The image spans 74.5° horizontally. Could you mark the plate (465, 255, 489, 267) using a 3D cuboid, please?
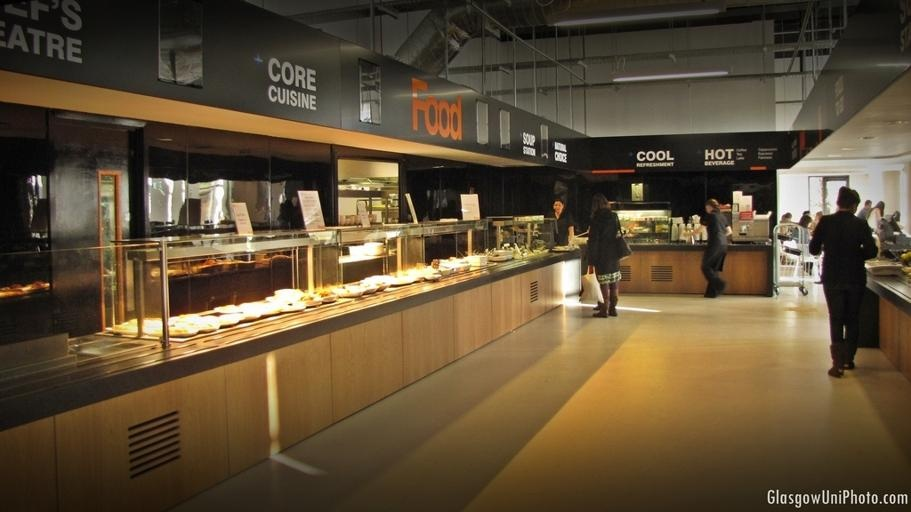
[{"bbox_3d":[0.307,0.070,8.790,0.183,0.114,0.249,0,1,28],"label":"plate"}]

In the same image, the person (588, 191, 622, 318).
[{"bbox_3d":[2.544,-0.017,10.174,0.599,2.053,0.659,1,6,14],"label":"person"}]

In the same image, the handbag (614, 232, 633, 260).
[{"bbox_3d":[3.003,-0.165,10.777,0.254,0.502,0.546,-11,1,21],"label":"handbag"}]

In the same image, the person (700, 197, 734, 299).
[{"bbox_3d":[5.108,-0.155,11.818,0.458,1.915,0.860,3,7,24],"label":"person"}]

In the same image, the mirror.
[{"bbox_3d":[-2.991,-0.075,5.177,0.059,1.366,0.298,-3,-2,12],"label":"mirror"}]

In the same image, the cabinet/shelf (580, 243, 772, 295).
[{"bbox_3d":[5.099,0.466,12.631,1.015,1.046,3.315,23,-18,-41],"label":"cabinet/shelf"}]

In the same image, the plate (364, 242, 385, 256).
[{"bbox_3d":[-0.942,-0.080,7.063,0.172,0.097,0.167,-4,7,-27],"label":"plate"}]

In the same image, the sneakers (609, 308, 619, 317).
[{"bbox_3d":[2.663,0.951,10.170,0.187,0.173,0.111,-1,3,6],"label":"sneakers"}]

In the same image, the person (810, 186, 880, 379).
[{"bbox_3d":[4.681,0.306,7.283,0.648,2.258,0.396,0,6,5],"label":"person"}]

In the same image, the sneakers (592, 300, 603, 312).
[{"bbox_3d":[2.448,0.871,10.358,0.165,0.109,0.172,18,-39,-32],"label":"sneakers"}]
